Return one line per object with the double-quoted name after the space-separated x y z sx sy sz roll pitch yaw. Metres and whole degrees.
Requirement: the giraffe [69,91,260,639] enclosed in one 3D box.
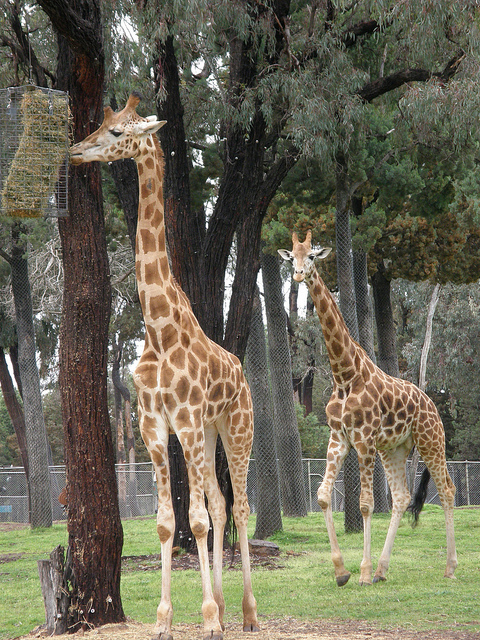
-0.555 0.395 10.879 1.058 5.017 1.793 -5 -5 40 "giraffe"
